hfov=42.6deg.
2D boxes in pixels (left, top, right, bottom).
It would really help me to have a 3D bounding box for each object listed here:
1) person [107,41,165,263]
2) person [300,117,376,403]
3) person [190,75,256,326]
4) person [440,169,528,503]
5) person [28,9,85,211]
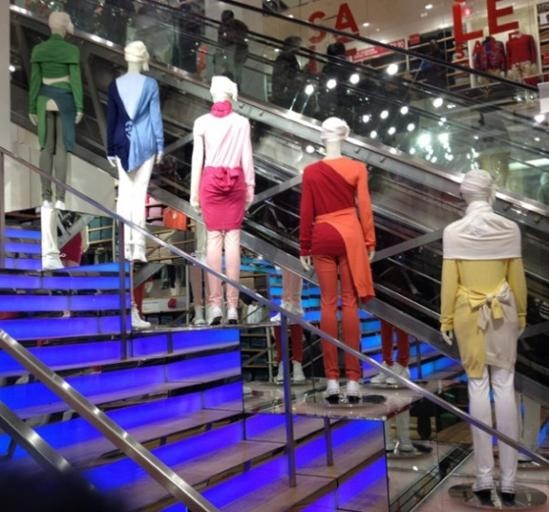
[{"bbox_3d":[-0.984,-0.872,4.983,0.381,1.317,0.427,0,4,-11],"label":"person"},{"bbox_3d":[0.396,-0.143,4.120,0.397,1.359,0.473,0,4,-17],"label":"person"},{"bbox_3d":[-0.329,-0.512,4.550,0.390,1.322,0.385,-1,4,-27],"label":"person"},{"bbox_3d":[1.179,0.253,3.960,0.452,1.474,0.355,3,4,25],"label":"person"},{"bbox_3d":[-1.688,-1.154,5.466,0.381,1.560,0.471,-1,4,-23],"label":"person"}]
